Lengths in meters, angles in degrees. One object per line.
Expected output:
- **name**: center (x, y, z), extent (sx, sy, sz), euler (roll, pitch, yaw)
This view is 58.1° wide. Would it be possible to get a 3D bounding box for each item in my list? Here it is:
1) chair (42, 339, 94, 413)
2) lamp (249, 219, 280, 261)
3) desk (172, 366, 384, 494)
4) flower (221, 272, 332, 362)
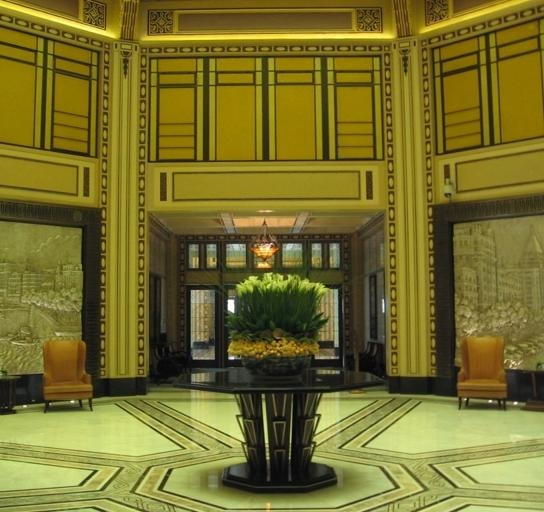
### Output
- **chair**: center (-3.121, 1.761, 7.362), extent (0.713, 0.846, 0.829), euler (6, -4, -34)
- **lamp**: center (-0.140, -0.396, 11.813), extent (0.736, 0.909, 0.750), euler (4, 9, 42)
- **desk**: center (0.052, 1.494, 4.157), extent (1.837, 0.766, 1.694), euler (1, -2, 1)
- **flower**: center (0.020, 0.412, 3.721), extent (0.843, 0.618, 0.624), euler (1, -11, -6)
